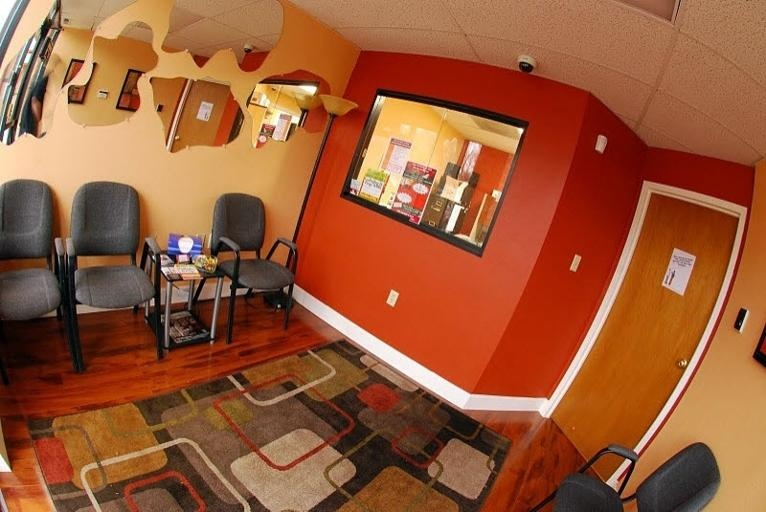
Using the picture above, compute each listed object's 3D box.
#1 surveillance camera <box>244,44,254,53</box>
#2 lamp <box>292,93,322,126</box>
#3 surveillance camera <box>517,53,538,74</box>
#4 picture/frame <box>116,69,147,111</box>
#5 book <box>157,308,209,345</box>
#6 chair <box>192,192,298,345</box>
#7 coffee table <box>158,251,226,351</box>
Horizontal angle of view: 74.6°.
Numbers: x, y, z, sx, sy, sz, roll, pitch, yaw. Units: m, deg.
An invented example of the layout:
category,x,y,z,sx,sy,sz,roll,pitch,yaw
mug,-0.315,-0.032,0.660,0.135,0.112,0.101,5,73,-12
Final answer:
category,x,y,z,sx,sy,sz,roll,pitch,yaw
surveillance camera,-1.178,-1.824,4.434,0.071,0.070,0.033,8,-1,-1
lamp,-0.722,-1.416,4.931,0.259,0.284,0.258,7,9,-5
surveillance camera,1.134,-1.524,4.010,0.117,0.131,0.063,9,54,16
picture/frame,-2.006,-1.338,4.020,0.023,0.345,0.299,19,16,22
book,-1.751,0.642,4.433,0.339,0.069,0.338,-6,28,-39
chair,-1.271,0.058,4.739,0.760,1.165,0.933,-1,18,-38
coffee table,-1.609,0.349,4.544,0.563,0.799,0.883,-2,19,-40
